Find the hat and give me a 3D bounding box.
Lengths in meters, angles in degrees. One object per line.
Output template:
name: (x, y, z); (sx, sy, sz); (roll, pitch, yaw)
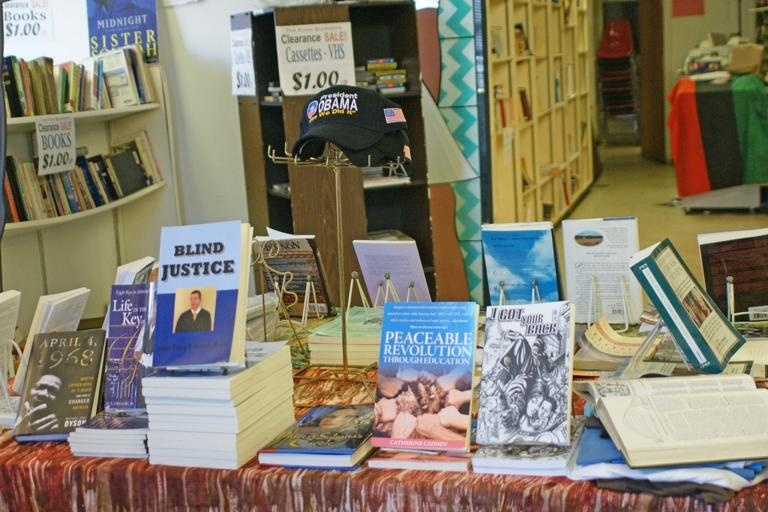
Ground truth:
hat: (-0.113, -0.460, 2.379); (0.280, 0.194, 0.382); (0, 2, 21)
